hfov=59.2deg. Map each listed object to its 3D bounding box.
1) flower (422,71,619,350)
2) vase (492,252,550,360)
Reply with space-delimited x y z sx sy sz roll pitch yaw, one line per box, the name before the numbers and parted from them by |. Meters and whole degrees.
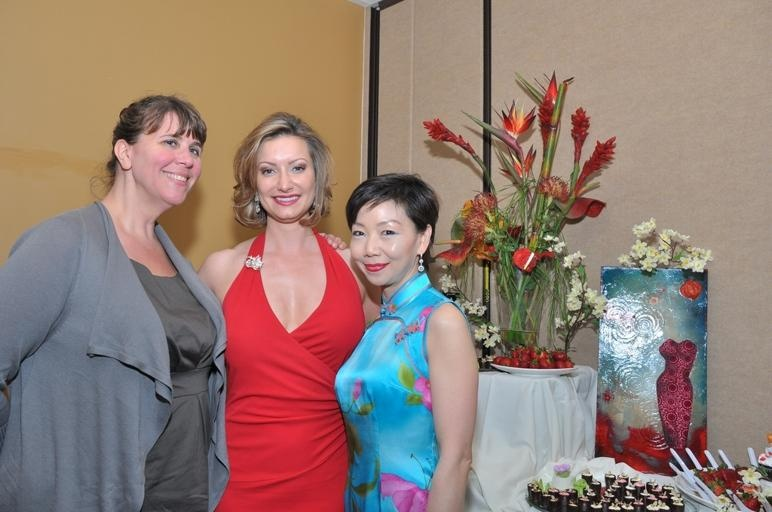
flower | 0.824 -0.316 4.527 1.217 1.816 0.933 15 -13 -43
vase | 0.862 0.297 4.273 0.331 0.728 0.485 0 -5 12
